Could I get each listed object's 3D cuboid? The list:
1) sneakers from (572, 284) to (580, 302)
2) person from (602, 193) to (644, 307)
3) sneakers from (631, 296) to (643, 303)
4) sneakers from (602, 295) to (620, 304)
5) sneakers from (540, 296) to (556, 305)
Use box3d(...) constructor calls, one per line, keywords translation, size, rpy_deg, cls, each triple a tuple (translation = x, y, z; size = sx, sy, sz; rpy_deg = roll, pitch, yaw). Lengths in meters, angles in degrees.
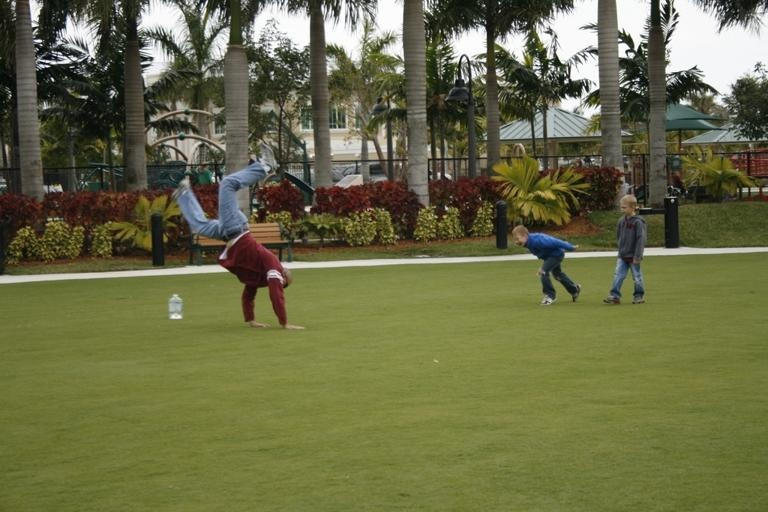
box3d(translation=(3.920, 0.776, 25.733), size=(0.172, 0.382, 0.133), rpy_deg=(11, -3, -40), cls="sneakers")
box3d(translation=(4.826, -0.117, 25.110), size=(0.732, 2.183, 0.637), rpy_deg=(0, 12, 9), cls="person")
box3d(translation=(5.080, 0.891, 25.251), size=(0.170, 0.162, 0.117), rpy_deg=(-2, 7, -22), cls="sneakers")
box3d(translation=(4.538, 0.897, 25.209), size=(0.354, 0.154, 0.126), rpy_deg=(11, -7, -2), cls="sneakers")
box3d(translation=(3.303, 0.919, 25.449), size=(0.129, 0.148, 0.363), rpy_deg=(-2, -5, 41), cls="sneakers")
